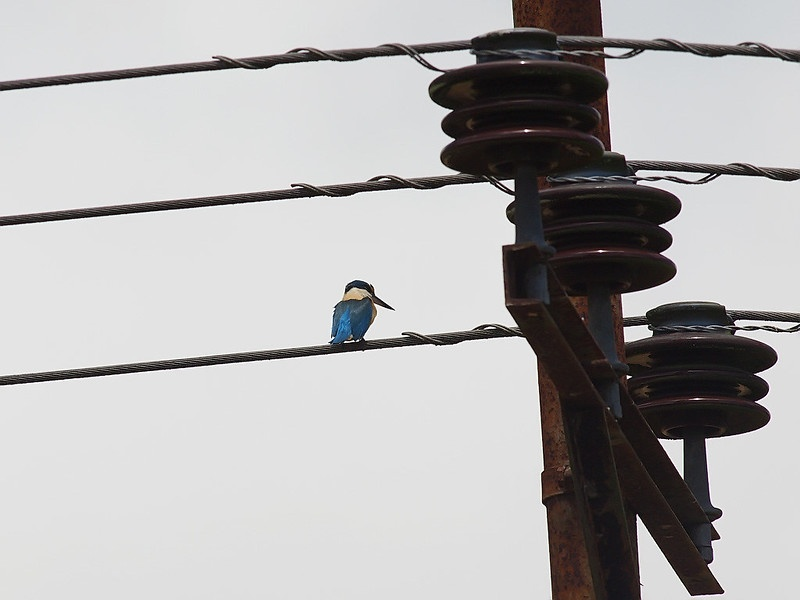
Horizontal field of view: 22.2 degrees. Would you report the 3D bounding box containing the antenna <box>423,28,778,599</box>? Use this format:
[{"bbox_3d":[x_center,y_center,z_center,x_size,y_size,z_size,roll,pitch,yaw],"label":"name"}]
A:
[{"bbox_3d":[1.254,-0.111,14.990,1.284,4.033,4.049,-11,-55,9],"label":"antenna"}]
